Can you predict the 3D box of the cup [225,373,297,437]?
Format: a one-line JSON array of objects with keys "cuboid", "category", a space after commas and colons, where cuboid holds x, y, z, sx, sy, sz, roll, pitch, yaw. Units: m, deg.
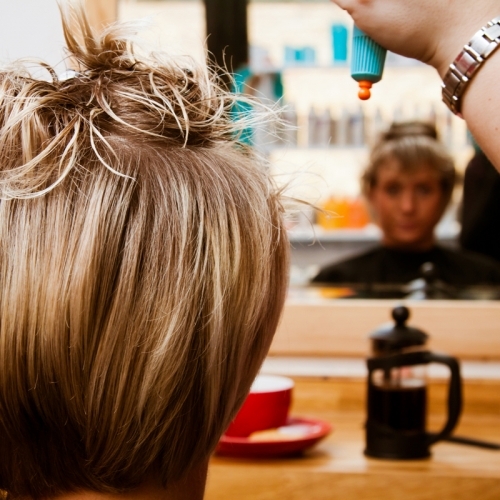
[{"cuboid": [0.015, 0.197, 0.886, 0.083, 0.046, 0.081, 1, -8, 0], "category": "cup"}]
